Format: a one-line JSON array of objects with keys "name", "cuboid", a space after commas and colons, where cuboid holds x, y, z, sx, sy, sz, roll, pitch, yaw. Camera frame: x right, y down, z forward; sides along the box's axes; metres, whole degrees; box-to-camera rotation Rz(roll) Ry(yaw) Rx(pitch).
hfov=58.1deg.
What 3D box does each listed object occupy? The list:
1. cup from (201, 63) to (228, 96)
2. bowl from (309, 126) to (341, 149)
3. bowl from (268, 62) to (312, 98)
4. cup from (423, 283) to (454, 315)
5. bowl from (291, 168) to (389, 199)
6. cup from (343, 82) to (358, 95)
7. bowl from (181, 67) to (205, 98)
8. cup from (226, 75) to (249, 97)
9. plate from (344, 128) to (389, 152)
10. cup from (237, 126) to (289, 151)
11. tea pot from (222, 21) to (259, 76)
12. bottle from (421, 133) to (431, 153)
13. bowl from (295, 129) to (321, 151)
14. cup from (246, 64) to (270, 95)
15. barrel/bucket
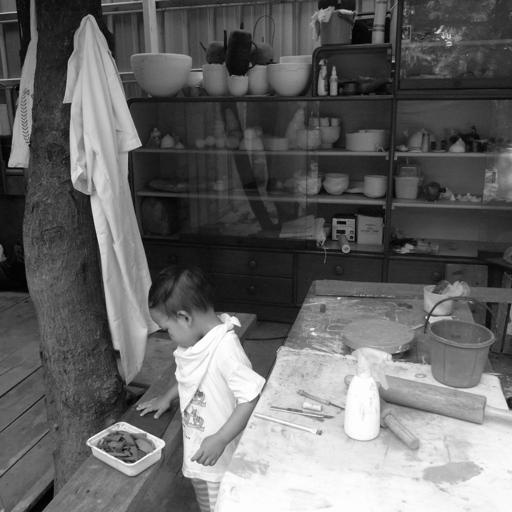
[{"name": "cup", "cuboid": [-0.277, -1.241, 3.275, 0.167, 0.234, 0.188, -1, 14, 0]}, {"name": "bowl", "cuboid": [0.489, -0.852, 3.293, 0.179, 0.161, 0.206, -3, 10, -2]}, {"name": "bowl", "cuboid": [0.303, -1.206, 3.187, 0.241, 0.197, 0.247, -6, 14, 2]}, {"name": "cup", "cuboid": [0.644, 0.147, 1.631, 0.083, 0.085, 0.104, -2, 8, -3]}, {"name": "bowl", "cuboid": [0.611, -0.526, 3.390, 0.648, 0.185, 0.291, -1, 13, 7]}, {"name": "cup", "cuboid": [0.641, -1.122, 3.124, 0.085, 0.095, 0.088, -2, 16, 1]}, {"name": "bowl", "cuboid": [-0.453, -1.297, 3.446, 0.182, 0.169, 0.171, 0, 12, 0]}, {"name": "cup", "cuboid": [-0.131, -1.175, 3.224, 0.127, 0.137, 0.140, -2, 16, -2]}, {"name": "plate", "cuboid": [0.770, -0.796, 3.191, 0.177, 0.107, 0.197, -7, 14, -22]}, {"name": "cup", "cuboid": [0.045, -0.817, 3.219, 0.250, 0.136, 0.169, 4, 15, 5]}, {"name": "tea pot", "cuboid": [-0.119, -1.390, 3.153, 0.259, 0.503, 0.271, 2, 30, -1]}, {"name": "bottle", "cuboid": [1.171, -0.784, 3.173, 0.063, 0.135, 0.181, 3, 14, 20]}, {"name": "bowl", "cuboid": [0.366, -0.809, 3.189, 0.121, 0.110, 0.135, -2, 15, -3]}, {"name": "cup", "cuboid": [0.015, -1.219, 3.239, 0.158, 0.219, 0.173, -2, 7, 0]}, {"name": "barrel/bucket", "cuboid": [0.490, 0.205, 1.123, 0.141, 0.214, 0.151, -2, 10, 0]}]
